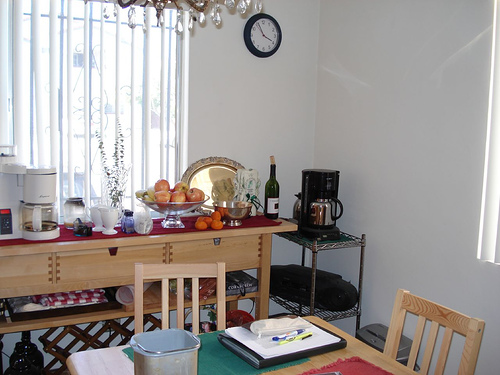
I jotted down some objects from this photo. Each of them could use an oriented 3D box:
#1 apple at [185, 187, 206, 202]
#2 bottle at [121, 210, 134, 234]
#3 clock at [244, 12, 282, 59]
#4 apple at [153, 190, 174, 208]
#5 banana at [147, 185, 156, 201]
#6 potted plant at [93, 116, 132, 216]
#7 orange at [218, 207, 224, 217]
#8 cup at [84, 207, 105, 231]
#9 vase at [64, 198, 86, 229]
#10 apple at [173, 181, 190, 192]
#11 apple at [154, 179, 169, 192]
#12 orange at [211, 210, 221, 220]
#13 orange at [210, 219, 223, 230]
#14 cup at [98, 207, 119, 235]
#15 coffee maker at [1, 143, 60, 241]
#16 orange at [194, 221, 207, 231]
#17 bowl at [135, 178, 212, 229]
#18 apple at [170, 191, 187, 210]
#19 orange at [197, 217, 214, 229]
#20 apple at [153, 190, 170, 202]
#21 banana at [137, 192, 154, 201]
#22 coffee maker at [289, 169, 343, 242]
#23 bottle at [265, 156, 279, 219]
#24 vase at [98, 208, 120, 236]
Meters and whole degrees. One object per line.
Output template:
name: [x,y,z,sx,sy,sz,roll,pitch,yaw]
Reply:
apple: [-0.349,0.044,2.648,0.089,0.095,0.090,14,38,42]
bottle: [-0.793,0.220,2.620,0.066,0.135,0.174,-4,5,-31]
clock: [0.101,-1.216,3.278,0.314,0.335,0.049,-3,5,-23]
apple: [-0.544,0.079,2.600,0.115,0.100,0.106,-3,5,-18]
banana: [-0.641,0.032,2.659,0.064,0.084,0.048,-12,-10,41]
potted plant: [-0.932,-0.172,2.817,0.258,0.665,0.458,-3,5,-20]
orange: [-0.198,0.176,2.787,0.046,0.055,0.047,0,0,-7]
cup: [-0.998,0.200,2.663,0.151,0.150,0.133,-1,4,20]
vase: [-1.134,0.163,2.644,0.114,0.166,0.111,5,-2,5]
apple: [-0.448,0.000,2.712,0.075,0.083,0.093,-1,-3,-45]
apple: [-0.571,-0.017,2.661,0.068,0.069,0.070,8,18,28]
orange: [-0.230,0.191,2.779,0.051,0.062,0.049,-13,-13,-18]
orange: [-0.223,0.253,2.728,0.068,0.060,0.032,-1,5,0]
cup: [-0.910,0.208,2.593,0.157,0.161,0.106,2,0,-2]
coffee maker: [-1.285,0.058,2.479,0.388,0.666,0.455,-2,4,-39]
orange: [-0.322,0.255,2.688,0.054,0.055,0.058,-5,6,-9]
bowl: [-0.502,0.124,2.743,0.428,0.288,0.423,3,8,0]
apple: [-0.455,0.087,2.611,0.102,0.117,0.080,-2,5,-10]
orange: [-0.303,0.227,2.771,0.075,0.078,0.075,-4,16,-36]
apple: [-0.555,0.057,2.584,0.080,0.064,0.065,2,-16,-4]
banana: [-0.682,0.054,2.635,0.050,0.035,0.089,-14,28,-34]
coffee maker: [0.508,0.118,3.129,0.314,0.503,0.413,-5,10,-36]
bottle: [0.160,-0.004,3.130,0.098,0.465,0.213,-1,5,2]
vase: [-0.826,0.214,2.519,0.159,0.163,0.112,2,1,-4]
